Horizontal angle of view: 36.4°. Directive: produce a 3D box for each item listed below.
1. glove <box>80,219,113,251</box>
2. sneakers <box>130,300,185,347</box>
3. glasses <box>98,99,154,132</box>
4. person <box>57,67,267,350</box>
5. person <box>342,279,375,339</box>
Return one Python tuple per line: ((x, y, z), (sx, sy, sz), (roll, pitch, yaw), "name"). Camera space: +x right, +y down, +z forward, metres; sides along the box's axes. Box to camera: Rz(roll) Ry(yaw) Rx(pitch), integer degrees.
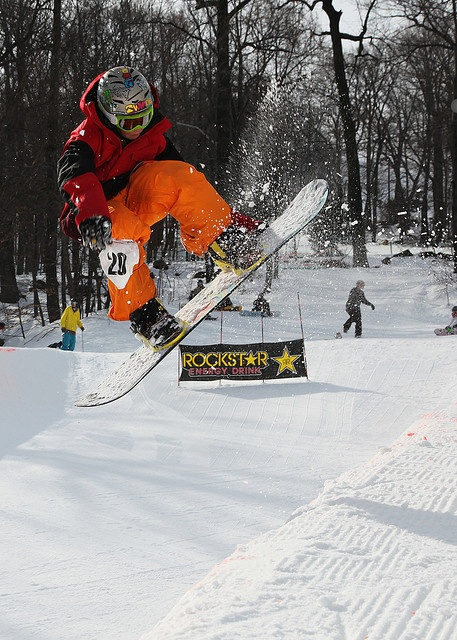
((-0.709, -0.454, 3.711), (0.162, 0.192, 0.191), (-1, 8, -13), "glove")
((-0.469, 0.054, 4.648), (0.272, 0.363, 0.145), (-43, -23, -5), "sneakers")
((-0.640, -1.243, 4.238), (0.189, 0.091, 0.231), (-31, 42, -24), "glasses")
((-0.509, -0.663, 4.374), (0.678, 1.743, 1.497), (6, 9, 35), "person")
((2.680, -0.289, 14.392), (0.583, 1.137, 1.979), (2, 8, 11), "person")
